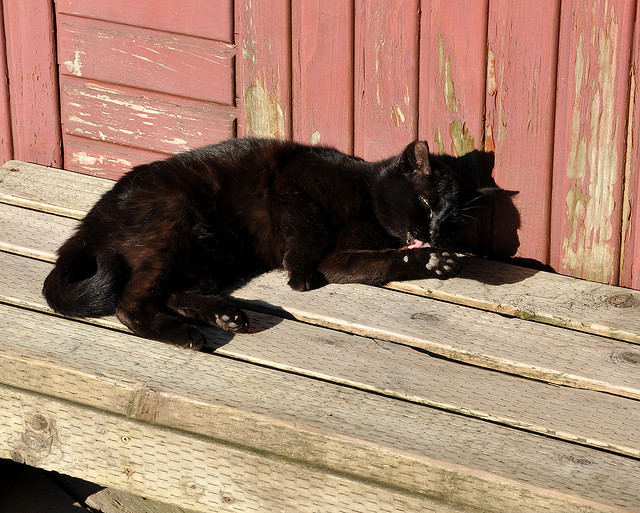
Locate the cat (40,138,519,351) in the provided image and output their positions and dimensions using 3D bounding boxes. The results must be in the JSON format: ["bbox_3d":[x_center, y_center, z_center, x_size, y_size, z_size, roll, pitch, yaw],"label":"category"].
[{"bbox_3d":[-0.247,-0.107,2.730,1.673,0.609,0.792,-11,5,6],"label":"cat"}]
